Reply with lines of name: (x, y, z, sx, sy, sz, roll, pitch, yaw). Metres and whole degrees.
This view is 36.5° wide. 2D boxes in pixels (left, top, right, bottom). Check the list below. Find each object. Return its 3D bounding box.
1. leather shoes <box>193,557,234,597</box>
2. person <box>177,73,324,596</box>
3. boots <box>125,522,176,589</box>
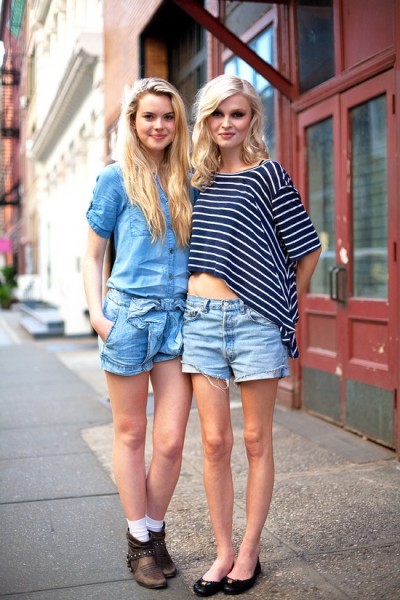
leather shoes: (0.027, 0.988, 2.119, 0.046, 0.048, 0.124, -2, -6, 34)
person: (0.186, 0.101, 2.226, 0.509, 1.861, 0.291, -1, 1, -3)
boots: (-0.183, 0.950, 2.253, 0.187, 0.175, 0.189, -1, 1, -4)
